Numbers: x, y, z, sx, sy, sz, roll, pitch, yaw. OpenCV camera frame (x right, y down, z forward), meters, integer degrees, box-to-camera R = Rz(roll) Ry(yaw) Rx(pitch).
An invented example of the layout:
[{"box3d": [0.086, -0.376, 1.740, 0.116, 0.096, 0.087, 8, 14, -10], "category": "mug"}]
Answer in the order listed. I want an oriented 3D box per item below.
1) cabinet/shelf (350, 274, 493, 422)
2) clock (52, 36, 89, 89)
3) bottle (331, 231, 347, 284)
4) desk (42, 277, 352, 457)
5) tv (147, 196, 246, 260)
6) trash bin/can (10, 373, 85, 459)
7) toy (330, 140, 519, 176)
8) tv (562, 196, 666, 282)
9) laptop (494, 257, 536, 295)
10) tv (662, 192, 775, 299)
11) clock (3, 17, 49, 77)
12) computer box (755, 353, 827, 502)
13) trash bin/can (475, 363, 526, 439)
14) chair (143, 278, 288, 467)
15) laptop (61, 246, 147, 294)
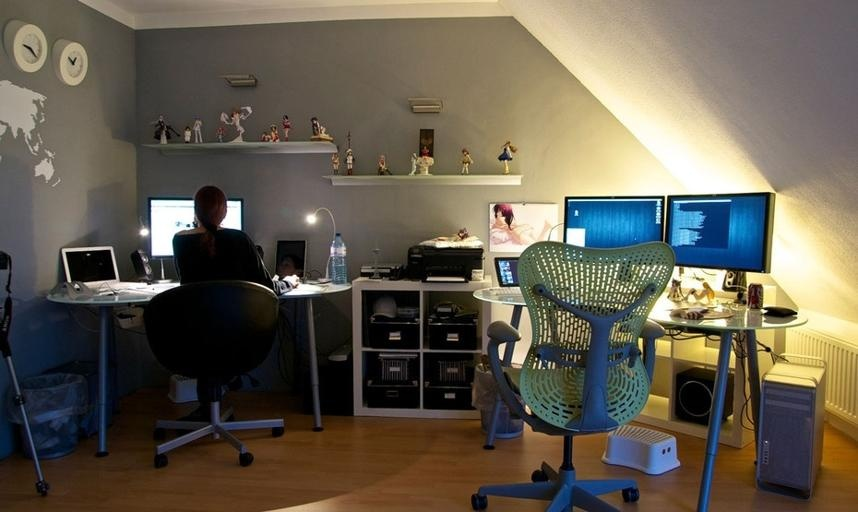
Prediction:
[{"box3d": [-0.073, 0.757, 5.393, 1.266, 1.103, 0.436, 0, -1, -1], "category": "cabinet/shelf"}, {"box3d": [-2.754, -1.479, 5.304, 0.068, 0.337, 0.293, 2, 5, 19], "category": "clock"}, {"box3d": [-0.750, 0.024, 5.704, 0.157, 0.405, 0.322, -1, 5, -9], "category": "bottle"}, {"box3d": [-1.738, 0.795, 5.432, 2.274, 1.070, 1.174, -2, 5, -20], "category": "desk"}, {"box3d": [-1.766, -0.201, 5.142, 0.575, 0.357, 0.037, 0, 8, -4], "category": "tv"}, {"box3d": [-2.667, 1.124, 5.012, 0.550, 0.555, 0.563, -7, 7, -44], "category": "trash bin/can"}, {"box3d": [0.026, -0.782, 5.677, 1.369, 0.278, 0.243, 0, 5, 6], "category": "toy"}, {"box3d": [1.293, -0.118, 4.665, 0.675, 0.369, 0.030, 1, 3, 18], "category": "tv"}, {"box3d": [0.662, 0.138, 5.385, 0.261, 0.226, 0.205, 1, 1, -5], "category": "laptop"}, {"box3d": [2.054, -0.091, 4.849, 0.859, 0.684, 0.203, 1, 3, 36], "category": "tv"}, {"box3d": [-2.923, -1.515, 4.994, 0.325, 0.267, 0.319, 8, 3, 27], "category": "clock"}, {"box3d": [2.449, 1.169, 4.636, 0.334, 0.803, 0.447, 4, 6, 35], "category": "computer box"}, {"box3d": [0.460, 1.111, 5.287, 0.501, 0.460, 0.433, -1, 4, -22], "category": "trash bin/can"}, {"box3d": [-1.506, 0.793, 4.933, 0.974, 1.144, 0.910, 0, 0, -26], "category": "chair"}, {"box3d": [-2.574, 0.098, 5.328, 0.442, 0.257, 0.416, -1, 0, 25], "category": "laptop"}]
